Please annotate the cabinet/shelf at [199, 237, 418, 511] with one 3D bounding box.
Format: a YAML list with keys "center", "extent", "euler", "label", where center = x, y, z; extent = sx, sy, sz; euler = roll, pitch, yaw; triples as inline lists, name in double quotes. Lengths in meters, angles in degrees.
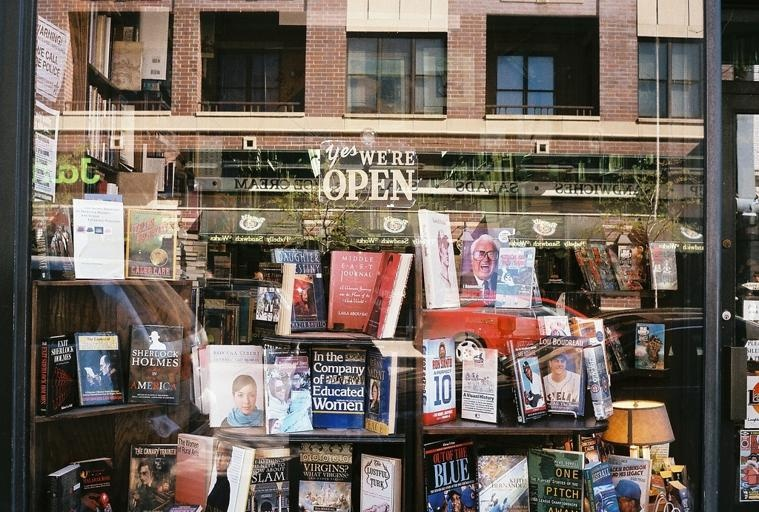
- center: [-0.310, 0.764, 6.233]
  extent: [1.074, 2.094, 1.132]
  euler: [1, -5, 4]
  label: "cabinet/shelf"

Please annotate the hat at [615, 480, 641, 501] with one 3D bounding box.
- center: [1.375, 1.296, 6.153]
  extent: [0.123, 0.066, 0.084]
  euler: [13, 0, 8]
  label: "hat"

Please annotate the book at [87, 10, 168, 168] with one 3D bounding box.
- center: [-1.487, -0.992, 6.571]
  extent: [0.473, 0.889, 0.325]
  euler: [-1, -1, -12]
  label: "book"

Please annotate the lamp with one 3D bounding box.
- center: [1.470, 0.981, 6.268]
  extent: [0.328, 0.417, 0.324]
  euler: [-8, -12, 40]
  label: "lamp"
